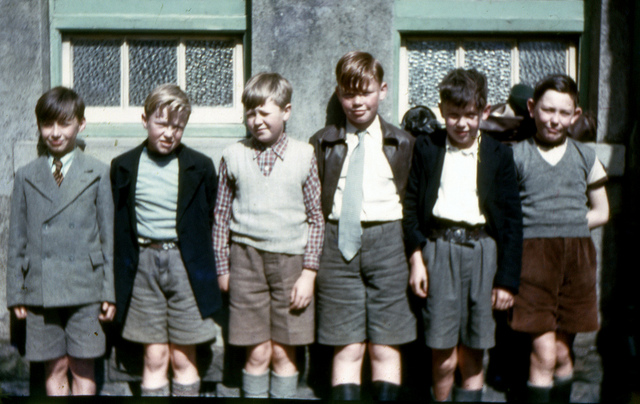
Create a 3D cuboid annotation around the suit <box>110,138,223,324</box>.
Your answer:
[{"bbox_3d":[-0.963,0.189,7.122,0.739,1.481,1.261,0,0,-3],"label":"suit"}]

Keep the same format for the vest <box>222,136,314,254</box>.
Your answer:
[{"bbox_3d":[-0.390,-0.043,6.797,0.691,0.886,0.217,-2,5,-5],"label":"vest"}]

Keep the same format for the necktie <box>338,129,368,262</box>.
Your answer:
[{"bbox_3d":[0.271,-0.063,6.786,0.155,0.989,0.270,2,6,38],"label":"necktie"}]

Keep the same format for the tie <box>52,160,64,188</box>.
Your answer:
[{"bbox_3d":[-2.005,-0.232,6.755,0.129,0.166,0.042,0,-4,0],"label":"tie"}]
